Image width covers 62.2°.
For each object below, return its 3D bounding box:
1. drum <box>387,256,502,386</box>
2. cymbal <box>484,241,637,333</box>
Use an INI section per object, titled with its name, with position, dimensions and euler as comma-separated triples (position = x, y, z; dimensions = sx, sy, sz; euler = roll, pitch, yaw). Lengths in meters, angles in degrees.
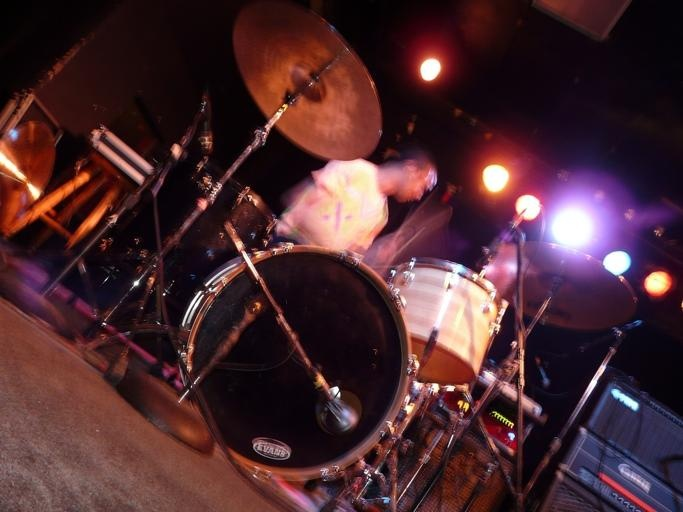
[drum]
position = 0.687, 0.388, 4.093
dimensions = 0.766, 0.621, 0.865
euler = 5, -45, 34
[cymbal]
position = 1.800, 0.306, 4.340
dimensions = 0.828, 0.284, 0.941
euler = 24, -21, 30
